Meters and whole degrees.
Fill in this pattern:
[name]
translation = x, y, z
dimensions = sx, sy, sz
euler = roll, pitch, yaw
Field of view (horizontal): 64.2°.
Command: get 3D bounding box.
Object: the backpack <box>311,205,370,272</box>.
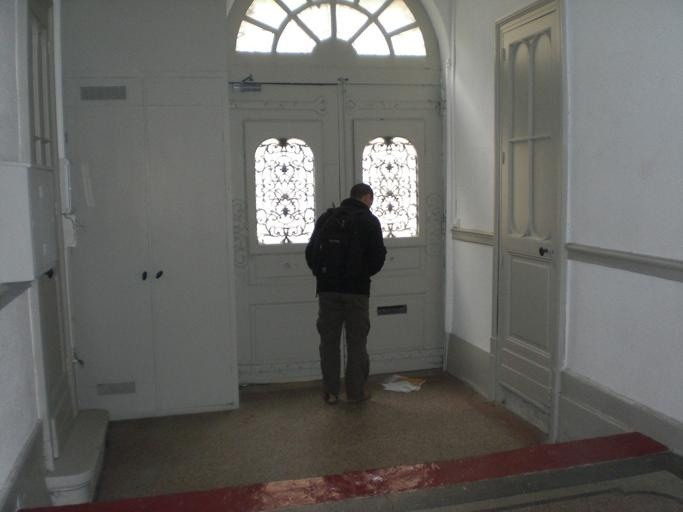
[backpack]
translation = 0.009, -0.125, 4.181
dimensions = 0.360, 0.565, 0.296
euler = 5, -13, 28
